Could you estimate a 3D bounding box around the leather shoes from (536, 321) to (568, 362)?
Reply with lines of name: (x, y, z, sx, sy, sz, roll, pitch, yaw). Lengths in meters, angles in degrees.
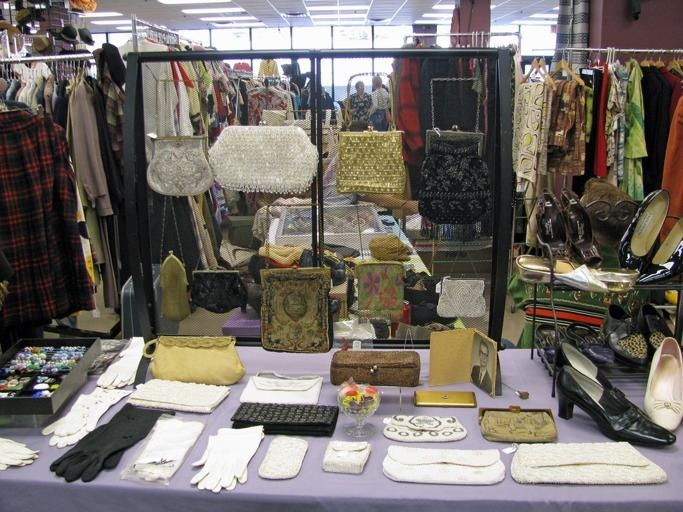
leather shoes: (1.034, 0.397, 2.554, 0.129, 0.059, 0.232, 8, 39, 17)

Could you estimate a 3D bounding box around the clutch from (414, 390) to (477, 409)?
clutch: (0.462, 0.640, 2.290, 0.174, 0.020, 0.108, 0, 9, 4)

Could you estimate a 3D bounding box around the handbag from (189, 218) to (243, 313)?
handbag: (-0.631, 0.151, 2.734, 0.285, 0.241, 0.234, 3, 21, 2)

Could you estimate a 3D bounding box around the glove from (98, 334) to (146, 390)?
glove: (-1.078, 0.541, 2.581, 0.110, 0.024, 0.297, 5, 15, -2)

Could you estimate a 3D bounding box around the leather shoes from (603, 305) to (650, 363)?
leather shoes: (1.333, 0.361, 2.431, 0.105, 0.103, 0.278, -7, 30, 3)

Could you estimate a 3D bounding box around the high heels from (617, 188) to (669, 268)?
high heels: (1.399, -0.096, 2.422, 0.131, 0.490, 0.118, 18, 12, 17)

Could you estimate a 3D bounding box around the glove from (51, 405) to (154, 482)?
glove: (-0.927, 0.742, 2.059, 0.132, 0.040, 0.326, 8, 18, 19)

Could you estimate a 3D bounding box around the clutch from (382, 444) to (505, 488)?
clutch: (0.375, 0.785, 1.912, 0.286, 0.047, 0.176, 0, 7, 1)

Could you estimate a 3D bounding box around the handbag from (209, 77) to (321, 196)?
handbag: (-0.353, -0.482, 2.432, 0.508, 0.320, 0.234, -1, 52, -3)

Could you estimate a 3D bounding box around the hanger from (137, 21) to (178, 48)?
hanger: (-1.481, -1.787, 4.193, 0.298, 0.209, 0.764, -7, 18, -16)

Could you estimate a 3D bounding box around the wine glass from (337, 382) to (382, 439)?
wine glass: (0.071, 0.610, 2.106, 0.177, 0.224, 0.189, 0, 7, 0)

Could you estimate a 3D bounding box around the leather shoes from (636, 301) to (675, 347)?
leather shoes: (1.479, 0.295, 2.462, 0.085, 0.101, 0.272, -6, 40, 1)

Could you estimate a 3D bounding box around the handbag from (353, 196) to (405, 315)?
handbag: (0.187, 0.025, 2.463, 0.262, 0.584, 0.069, 0, 33, 5)

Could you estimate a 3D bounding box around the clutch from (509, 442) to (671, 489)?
clutch: (0.892, 0.776, 1.903, 0.298, 0.039, 0.217, -1, 5, 6)

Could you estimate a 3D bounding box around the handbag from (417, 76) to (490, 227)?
handbag: (0.492, -0.407, 2.595, 0.426, 0.952, 0.318, -1, 16, 4)

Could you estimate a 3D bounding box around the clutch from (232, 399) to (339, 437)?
clutch: (-0.226, 0.682, 2.155, 0.287, 0.048, 0.178, 2, 16, 5)

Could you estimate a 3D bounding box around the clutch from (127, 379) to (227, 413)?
clutch: (-0.726, 0.630, 2.307, 0.258, 0.041, 0.187, 5, 16, 6)
